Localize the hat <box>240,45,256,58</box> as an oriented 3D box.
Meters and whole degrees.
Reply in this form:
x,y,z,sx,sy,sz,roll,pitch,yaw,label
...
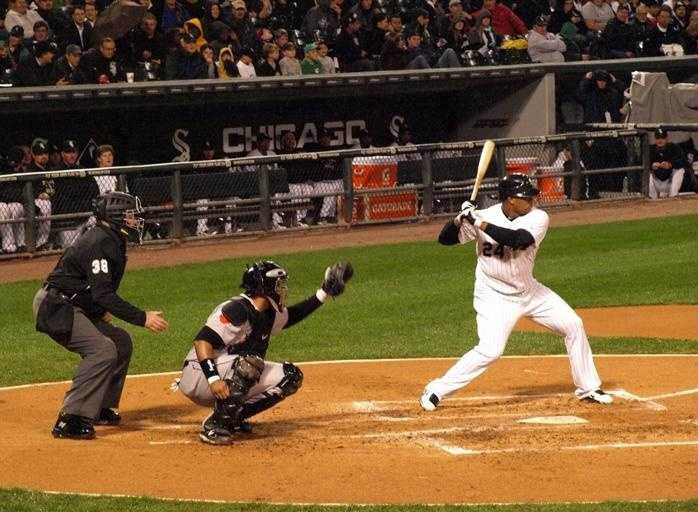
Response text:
x,y,z,sx,sy,sz,roll,pitch,yaw,label
-1.837,-3.661,21.794,0.259,0.269,0.303,-2,2,-5,hat

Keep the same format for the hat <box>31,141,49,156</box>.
x,y,z,sx,sy,sz,roll,pitch,yaw,label
-5.010,-1.787,19.909,0.230,0.250,0.388,-1,2,27,hat

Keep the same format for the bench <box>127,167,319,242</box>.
x,y,z,sx,sy,sz,roll,pitch,yaw,label
-2.211,-0.831,20.760,3.645,1.132,0.883,-1,30,19,bench

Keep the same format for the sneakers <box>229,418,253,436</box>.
x,y,z,sx,sy,sz,roll,pitch,yaw,label
-1.146,1.835,13.050,0.234,0.166,0.146,1,2,38,sneakers

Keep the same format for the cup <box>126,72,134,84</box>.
x,y,z,sx,sy,sz,roll,pitch,yaw,label
-3.719,-3.087,20.730,0.137,0.178,0.118,-3,3,-23,cup

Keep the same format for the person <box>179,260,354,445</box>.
x,y,z,sx,sy,sz,roll,pitch,yaw,label
-1.003,1.011,12.817,1.638,1.915,0.530,-2,3,-12,person

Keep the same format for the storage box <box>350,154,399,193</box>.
x,y,z,sx,sy,sz,roll,pitch,yaw,label
0.460,-1.501,21.747,1.073,0.708,0.578,0,-1,-31,storage box

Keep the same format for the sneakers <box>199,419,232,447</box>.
x,y,z,sx,sy,sz,roll,pitch,yaw,label
-1.401,1.857,12.773,0.369,0.149,0.207,10,18,24,sneakers

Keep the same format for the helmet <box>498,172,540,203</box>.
x,y,z,sx,sy,sz,roll,pitch,yaw,label
1.847,-0.783,13.365,0.384,0.213,0.276,-1,18,10,helmet

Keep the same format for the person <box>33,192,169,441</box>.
x,y,z,sx,sy,sz,roll,pitch,yaw,label
-2.717,0.628,12.808,1.183,2.623,0.588,-2,3,-9,person

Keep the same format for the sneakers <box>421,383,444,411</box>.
x,y,z,sx,sy,sz,roll,pitch,yaw,label
0.908,1.539,13.266,0.225,0.132,0.287,-4,37,21,sneakers

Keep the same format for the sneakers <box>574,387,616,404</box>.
x,y,z,sx,sy,sz,roll,pitch,yaw,label
2.750,1.572,13.694,0.340,0.138,0.185,-2,4,14,sneakers

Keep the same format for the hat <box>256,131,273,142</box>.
x,y,z,sx,sy,sz,roll,pitch,yaw,label
-1.581,-2.288,22.911,0.279,0.130,0.176,-12,-8,28,hat

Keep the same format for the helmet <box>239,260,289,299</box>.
x,y,z,sx,sy,sz,roll,pitch,yaw,label
-0.896,0.256,12.759,0.554,0.443,0.435,-5,12,-15,helmet

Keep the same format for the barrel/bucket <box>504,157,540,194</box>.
x,y,z,sx,sy,sz,roll,pitch,yaw,label
3.251,-1.593,22.682,0.437,0.453,0.397,-2,-8,21,barrel/bucket

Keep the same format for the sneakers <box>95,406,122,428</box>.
x,y,z,sx,sy,sz,roll,pitch,yaw,label
-2.635,1.776,13.351,0.372,0.233,0.115,-2,17,-10,sneakers

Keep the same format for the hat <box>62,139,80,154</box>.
x,y,z,sx,sy,sz,roll,pitch,yaw,label
-4.620,-1.869,20.151,0.331,0.208,0.447,-4,-1,-25,hat

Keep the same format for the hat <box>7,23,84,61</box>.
x,y,z,sx,sy,sz,roll,pitch,yaw,label
-5.197,-3.560,20.134,1.067,0.615,0.606,-3,2,-24,hat

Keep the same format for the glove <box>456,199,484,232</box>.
x,y,z,sx,sy,sz,roll,pitch,yaw,label
1.311,-0.449,13.215,0.304,0.310,0.335,-2,2,4,glove
